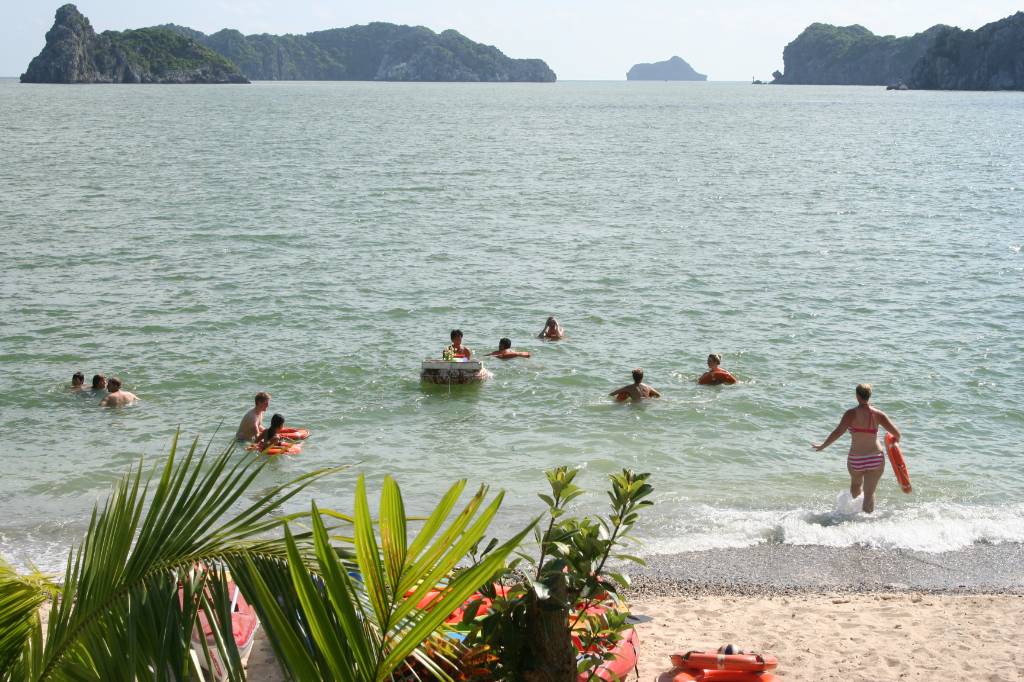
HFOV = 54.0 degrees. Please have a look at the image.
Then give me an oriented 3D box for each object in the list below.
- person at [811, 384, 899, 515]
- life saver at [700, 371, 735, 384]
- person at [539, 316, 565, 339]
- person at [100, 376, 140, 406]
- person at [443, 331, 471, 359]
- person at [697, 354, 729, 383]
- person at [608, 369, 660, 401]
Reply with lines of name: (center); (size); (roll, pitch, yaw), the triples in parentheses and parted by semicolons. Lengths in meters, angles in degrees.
person: (6.112, 1.871, 17.581); (0.918, 2.307, 0.516); (6, 15, 16)
life saver: (4.632, 0.789, 22.879); (0.824, 0.342, 0.492); (4, 15, 11)
person: (1.037, -0.297, 25.983); (0.428, 0.701, 0.252); (3, 1, 9)
person: (-8.475, 1.004, 21.879); (0.667, 0.514, 1.179); (-4, 15, -21)
person: (-1.310, 0.095, 24.111); (0.603, 0.849, 0.496); (-3, 12, -16)
person: (4.614, 0.721, 23.193); (0.701, 0.732, 0.687); (1, -15, 0)
person: (2.714, 1.008, 22.526); (0.907, 0.277, 0.690); (5, -26, -6)
